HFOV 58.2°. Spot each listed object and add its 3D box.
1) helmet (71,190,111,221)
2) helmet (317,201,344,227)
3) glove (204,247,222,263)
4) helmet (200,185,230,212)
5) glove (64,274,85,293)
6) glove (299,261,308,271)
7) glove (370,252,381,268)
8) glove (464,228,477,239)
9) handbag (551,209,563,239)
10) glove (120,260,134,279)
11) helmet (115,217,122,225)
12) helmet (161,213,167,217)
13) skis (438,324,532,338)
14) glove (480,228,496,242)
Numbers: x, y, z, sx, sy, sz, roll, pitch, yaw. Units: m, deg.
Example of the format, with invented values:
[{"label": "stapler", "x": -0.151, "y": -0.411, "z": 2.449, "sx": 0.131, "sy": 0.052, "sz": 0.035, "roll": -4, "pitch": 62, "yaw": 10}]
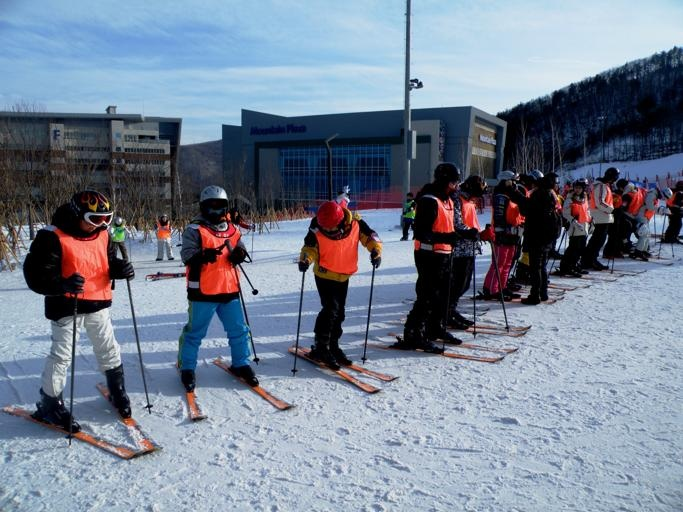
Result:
[{"label": "helmet", "x": -2.339, "y": -0.505, "z": 5.838, "sx": 0.323, "sy": 0.276, "sz": 0.255, "roll": 4, "pitch": 21, "yaw": 9}, {"label": "helmet", "x": -0.126, "y": -0.469, "z": 6.977, "sx": 0.226, "sy": 0.243, "sz": 0.305, "roll": -3, "pitch": 7, "yaw": -6}, {"label": "glove", "x": -1.346, "y": -0.013, "z": 6.441, "sx": 0.209, "sy": 0.138, "sz": 0.139, "roll": -5, "pitch": 12, "yaw": -22}, {"label": "helmet", "x": -1.363, "y": -0.623, "z": 6.625, "sx": 0.223, "sy": 0.276, "sz": 0.286, "roll": 1, "pitch": -7, "yaw": -23}, {"label": "glove", "x": -2.472, "y": 0.259, "z": 5.686, "sx": 0.175, "sy": 0.200, "sz": 0.119, "roll": -6, "pitch": 12, "yaw": -26}, {"label": "glove", "x": -0.418, "y": 0.119, "z": 6.824, "sx": 0.100, "sy": 0.106, "sz": 0.104, "roll": -13, "pitch": 27, "yaw": -20}, {"label": "glove", "x": 0.408, "y": 0.043, "z": 7.160, "sx": 0.121, "sy": 0.173, "sz": 0.060, "roll": 0, "pitch": 1, "yaw": 8}, {"label": "glove", "x": 1.528, "y": -0.274, "z": 7.255, "sx": 0.125, "sy": 0.095, "sz": 0.124, "roll": 11, "pitch": 18, "yaw": 36}, {"label": "handbag", "x": 3.358, "y": -0.541, "z": 9.616, "sx": 0.181, "sy": 0.508, "sz": 0.354, "roll": 4, "pitch": -2, "yaw": 31}, {"label": "glove", "x": -2.120, "y": 0.134, "z": 6.053, "sx": 0.117, "sy": 0.220, "sz": 0.165, "roll": -12, "pitch": 27, "yaw": -22}, {"label": "helmet", "x": -5.235, "y": -0.831, "z": 14.424, "sx": 0.134, "sy": 0.168, "sz": 0.175, "roll": 13, "pitch": -29, "yaw": -33}, {"label": "helmet", "x": -4.667, "y": -1.086, "z": 16.209, "sx": 0.152, "sy": 0.105, "sz": 0.206, "roll": -1, "pitch": 6, "yaw": -41}, {"label": "skis", "x": 1.905, "y": 1.001, "z": 8.196, "sx": 1.032, "sy": 0.115, "sz": 0.155, "roll": 2, "pitch": 25, "yaw": 26}, {"label": "glove", "x": 1.808, "y": -0.270, "z": 7.607, "sx": 0.168, "sy": 0.210, "sz": 0.358, "roll": 2, "pitch": 12, "yaw": 12}]
